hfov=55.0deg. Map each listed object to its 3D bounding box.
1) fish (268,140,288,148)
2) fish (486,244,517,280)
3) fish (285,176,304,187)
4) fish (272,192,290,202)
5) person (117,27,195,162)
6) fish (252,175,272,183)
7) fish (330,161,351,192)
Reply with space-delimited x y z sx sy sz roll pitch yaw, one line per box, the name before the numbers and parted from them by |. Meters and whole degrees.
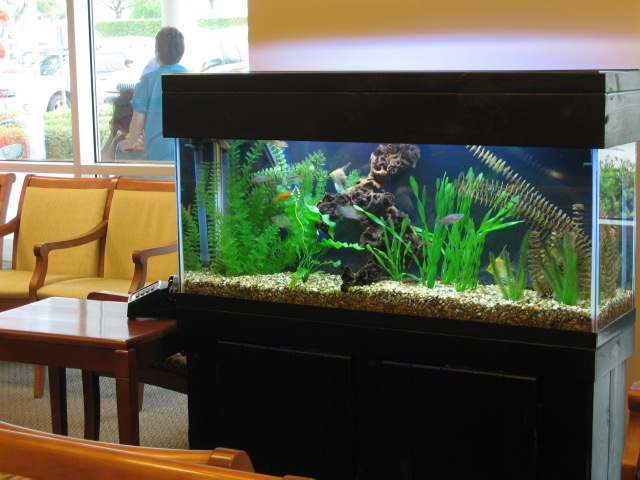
fish | -0.161 -0.361 2.325 0.080 0.031 0.011 3 8 26
fish | 0.616 0.083 2.115 0.095 0.163 0.045 5 14 34
fish | -0.104 -0.221 2.318 0.065 0.047 0.012 4 8 30
fish | -0.143 -0.165 2.347 0.080 0.025 0.025 -22 -26 16
person | -1.203 -1.016 4.365 0.620 0.917 0.170 4 8 31
fish | -0.227 -0.235 2.355 0.068 0.029 0.006 3 8 24
fish | 0.075 -0.231 2.252 0.045 0.099 0.076 -7 11 -33
